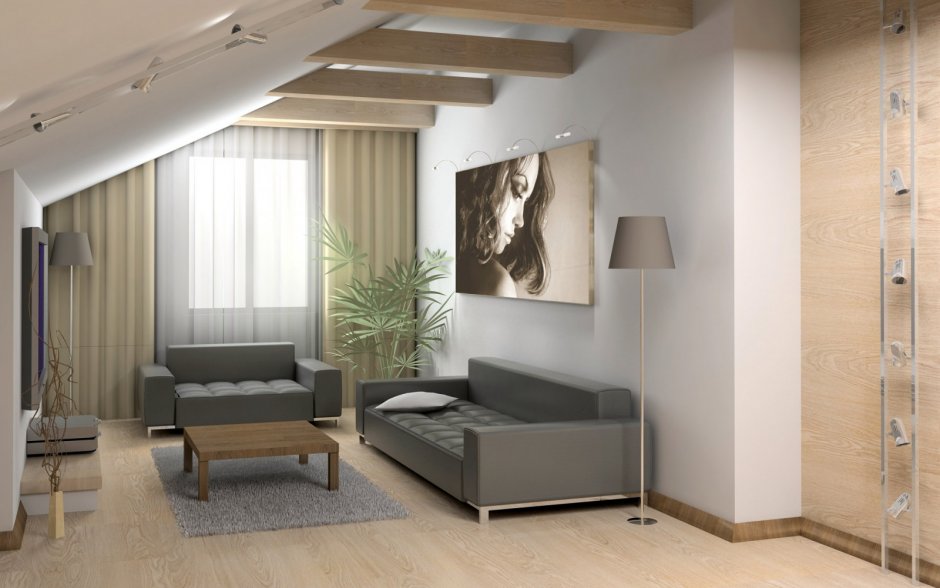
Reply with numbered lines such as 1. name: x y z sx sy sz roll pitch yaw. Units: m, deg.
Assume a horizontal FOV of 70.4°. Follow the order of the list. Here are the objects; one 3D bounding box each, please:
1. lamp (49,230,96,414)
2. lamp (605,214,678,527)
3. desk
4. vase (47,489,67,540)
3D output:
1. lamp: -4.698 0.387 7.979 0.606 2.172 0.594 -5 3 -38
2. lamp: 1.330 0.560 5.223 0.462 2.343 0.583 1 5 16
3. desk: -3.295 1.532 5.375 0.534 0.358 0.542 -2 5 -28
4. vase: -3.022 1.581 4.850 0.103 0.326 0.209 -3 5 -32
